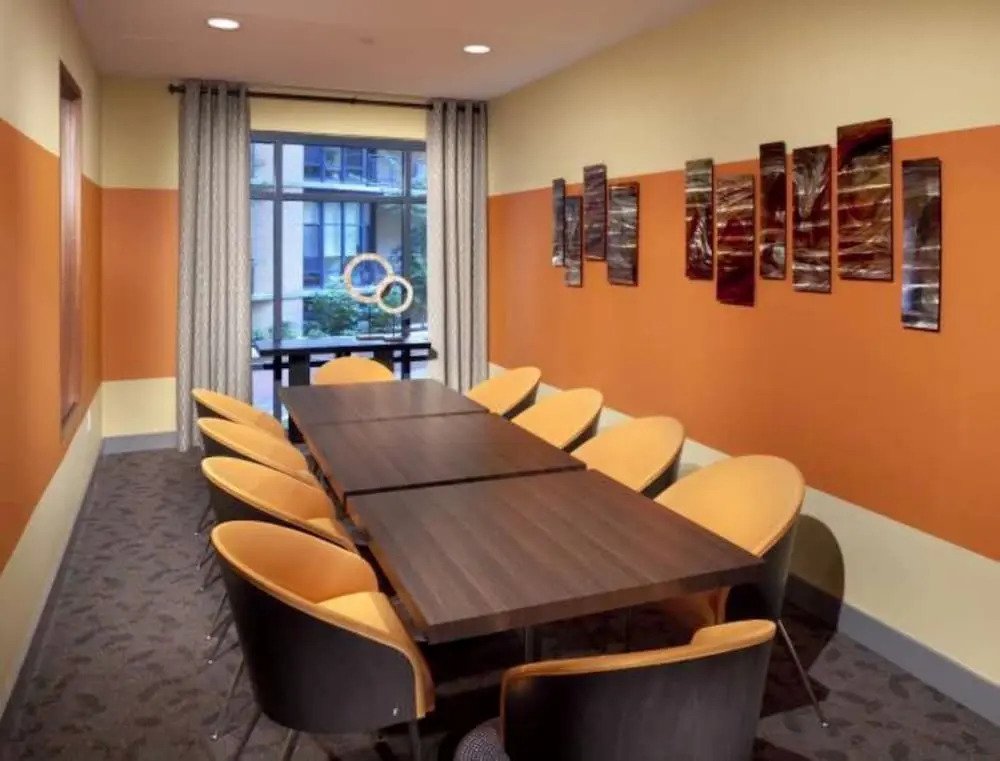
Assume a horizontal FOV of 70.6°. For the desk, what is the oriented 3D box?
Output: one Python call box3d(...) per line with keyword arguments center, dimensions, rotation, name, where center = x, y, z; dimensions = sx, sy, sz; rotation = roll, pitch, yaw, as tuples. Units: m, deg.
box3d(center=(-1.493, 0.114, 6.808), dimensions=(1.658, 1.144, 0.909), rotation=(-4, 13, -27), name="desk")
